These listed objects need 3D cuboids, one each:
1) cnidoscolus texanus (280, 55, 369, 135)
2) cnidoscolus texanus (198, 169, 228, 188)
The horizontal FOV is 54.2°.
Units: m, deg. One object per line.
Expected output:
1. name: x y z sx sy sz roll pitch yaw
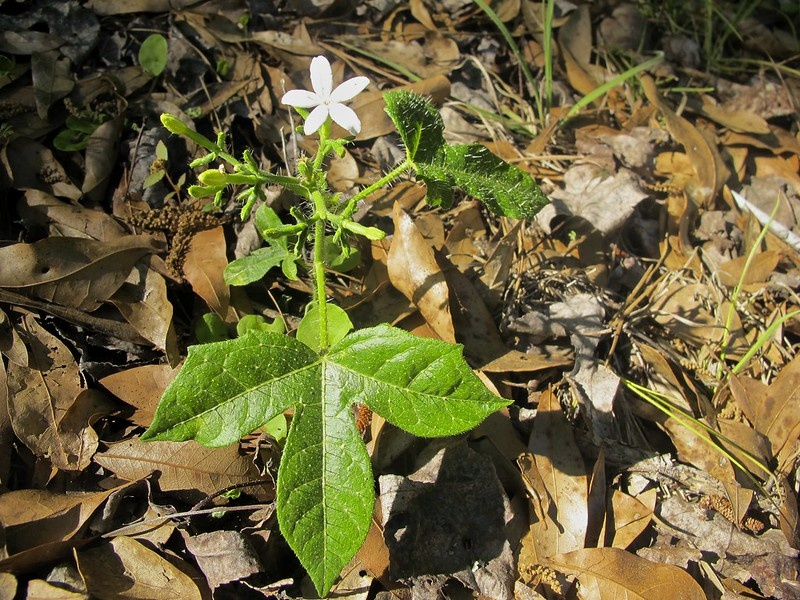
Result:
1. cnidoscolus texanus: -0.367 -1.009 4.210 0.428 0.489 0.393 23 41 32
2. cnidoscolus texanus: -0.944 -0.603 3.951 0.124 0.073 0.082 4 29 35
